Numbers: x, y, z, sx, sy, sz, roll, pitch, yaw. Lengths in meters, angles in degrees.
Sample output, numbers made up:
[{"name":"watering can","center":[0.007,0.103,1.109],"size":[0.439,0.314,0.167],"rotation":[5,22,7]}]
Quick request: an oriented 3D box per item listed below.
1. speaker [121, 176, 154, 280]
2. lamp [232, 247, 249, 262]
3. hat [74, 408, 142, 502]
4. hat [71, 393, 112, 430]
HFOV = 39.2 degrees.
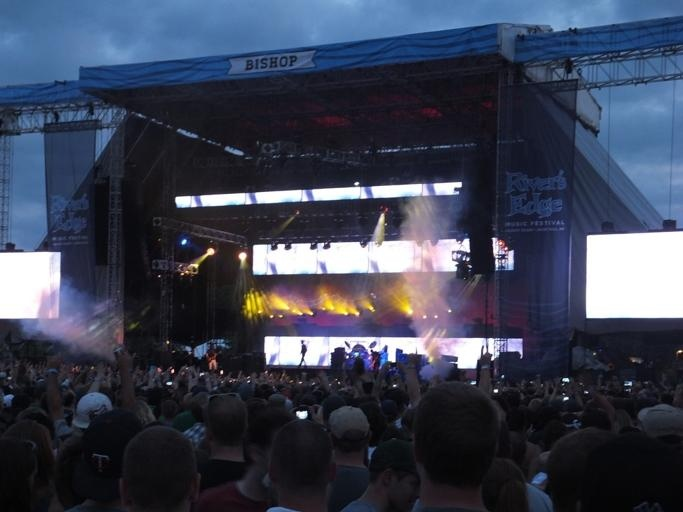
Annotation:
[{"name":"speaker","center":[-6.884,-0.835,31.957],"size":[0.634,3.219,1.435],"rotation":[1,-7,4]},{"name":"lamp","center":[-4.277,-0.014,41.246],"size":[0.502,0.699,0.627],"rotation":[2,-7,-6]},{"name":"hat","center":[-2.907,2.433,12.047],"size":[0.729,0.552,1.080],"rotation":[5,33,1]},{"name":"hat","center":[-3.439,2.107,13.453],"size":[0.474,0.348,0.641],"rotation":[5,12,22]}]
